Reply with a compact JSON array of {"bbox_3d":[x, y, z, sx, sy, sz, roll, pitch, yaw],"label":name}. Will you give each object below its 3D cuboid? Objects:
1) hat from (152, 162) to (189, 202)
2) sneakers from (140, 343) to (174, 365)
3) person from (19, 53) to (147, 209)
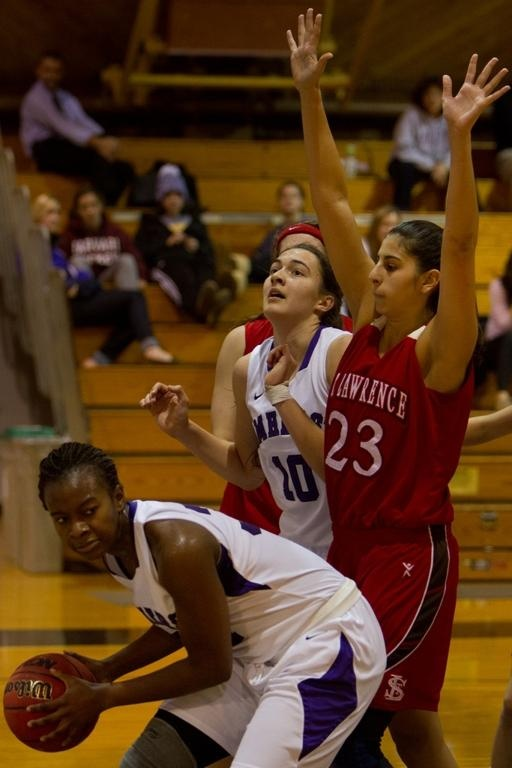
[{"bbox_3d":[-0.344,-0.818,3.405,0.146,0.147,0.191,-1,-13,-6],"label":"hat"},{"bbox_3d":[-0.515,-0.168,4.511,0.176,0.152,0.074,3,34,3],"label":"sneakers"},{"bbox_3d":[-0.731,-1.018,3.451,0.278,0.398,0.752,-16,32,-23],"label":"person"}]
